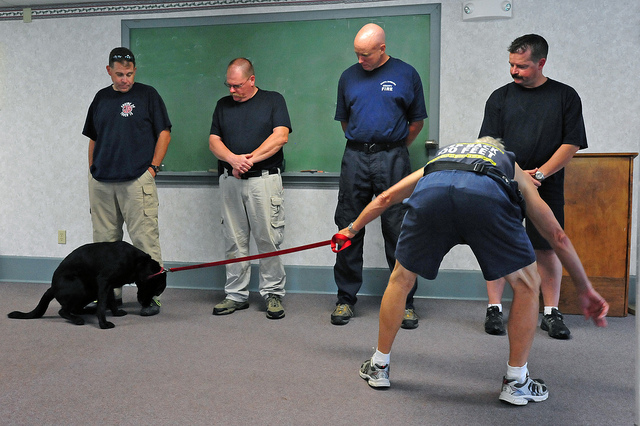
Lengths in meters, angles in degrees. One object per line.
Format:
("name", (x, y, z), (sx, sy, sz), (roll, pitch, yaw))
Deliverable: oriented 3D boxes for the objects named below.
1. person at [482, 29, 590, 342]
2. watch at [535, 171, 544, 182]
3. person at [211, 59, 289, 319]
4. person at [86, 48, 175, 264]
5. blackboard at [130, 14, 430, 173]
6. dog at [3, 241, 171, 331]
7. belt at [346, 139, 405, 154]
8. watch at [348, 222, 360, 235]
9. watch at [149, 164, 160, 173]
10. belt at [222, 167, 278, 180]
("person", (1.615, -0.205, 5.351), (0.937, 2.321, 0.730), (3, 4, 31))
("watch", (1.645, -0.280, 5.098), (0.067, 0.059, 0.059), (14, -11, 18))
("person", (-0.585, -0.222, 5.726), (0.667, 2.111, 0.703), (-2, 10, -3))
("person", (-1.660, -0.353, 5.847), (0.745, 1.525, 0.447), (-2, 11, -4))
("blackboard", (-0.526, -1.073, 6.408), (3.463, 1.745, 0.113), (5, 12, 27))
("dog", (-2.117, 0.578, 5.502), (1.801, 0.690, 0.581), (0, 5, -8))
("belt", (0.454, -0.552, 5.585), (0.473, 0.111, 0.149), (0, 10, 3))
("watch", (0.219, 0.096, 4.604), (0.083, 0.073, 0.032), (17, 13, 5))
("watch", (-1.432, -0.387, 5.834), (0.074, 0.037, 0.054), (21, -7, 24))
("belt", (-0.574, -0.333, 5.716), (0.424, 0.088, 0.130), (-2, 10, -7))
